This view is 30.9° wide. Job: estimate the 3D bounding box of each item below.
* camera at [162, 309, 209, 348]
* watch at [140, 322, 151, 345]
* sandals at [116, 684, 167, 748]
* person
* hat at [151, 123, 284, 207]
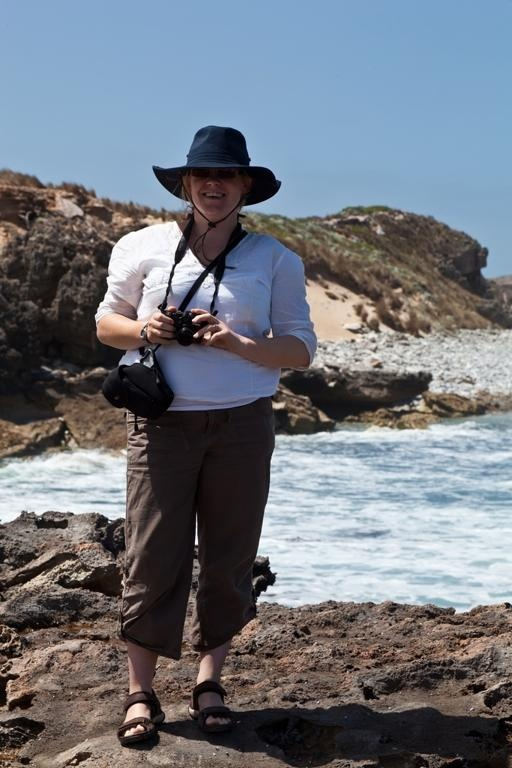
[{"bbox_3d":[-0.257,-0.205,3.412,0.208,0.100,0.125,3,23,-8],"label":"camera"},{"bbox_3d":[-0.406,-0.184,3.444,0.043,0.089,0.090,1,6,-6],"label":"watch"},{"bbox_3d":[-0.421,1.224,3.404,0.169,0.157,0.195,1,6,-5],"label":"sandals"},{"bbox_3d":[-0.186,0.168,3.547,0.804,2.290,0.608,0,7,-13],"label":"person"},{"bbox_3d":[-0.147,-0.864,3.615,0.534,0.191,0.542,2,-3,-17],"label":"hat"}]
